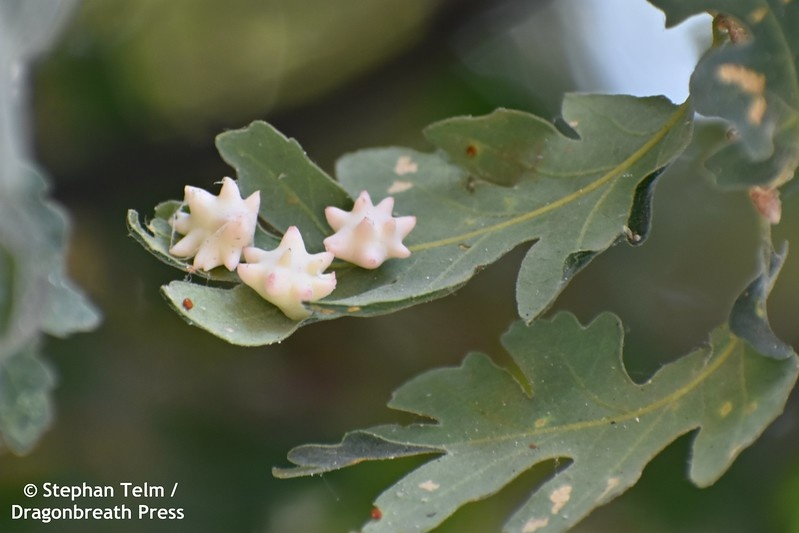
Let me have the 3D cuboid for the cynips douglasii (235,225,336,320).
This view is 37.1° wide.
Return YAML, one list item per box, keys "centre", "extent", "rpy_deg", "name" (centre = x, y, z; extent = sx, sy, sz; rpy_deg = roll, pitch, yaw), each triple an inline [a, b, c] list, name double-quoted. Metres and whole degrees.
- centre: [-0.122, 0.006, 1.269]
  extent: [0.108, 0.055, 0.079]
  rpy_deg: [24, 44, 18]
  name: "cynips douglasii"

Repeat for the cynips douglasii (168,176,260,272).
- centre: [-0.201, -0.045, 1.299]
  extent: [0.097, 0.059, 0.092]
  rpy_deg: [2, 42, -6]
  name: "cynips douglasii"

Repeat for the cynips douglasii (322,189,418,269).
- centre: [-0.033, -0.039, 1.307]
  extent: [0.101, 0.042, 0.093]
  rpy_deg: [6, 41, -1]
  name: "cynips douglasii"
